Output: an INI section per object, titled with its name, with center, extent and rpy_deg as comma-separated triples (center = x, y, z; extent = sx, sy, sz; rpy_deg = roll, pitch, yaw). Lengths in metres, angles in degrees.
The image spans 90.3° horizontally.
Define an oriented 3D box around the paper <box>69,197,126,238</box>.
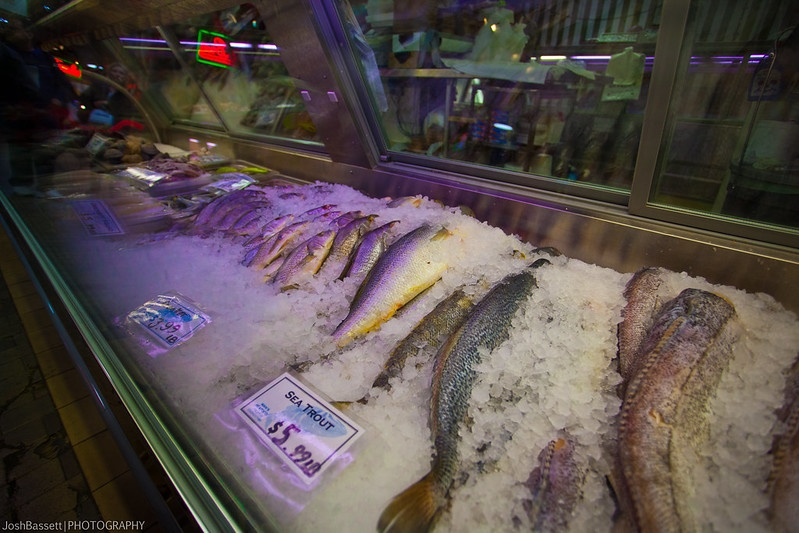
[paper]
center = -1.887, -0.298, 2.456
extent = 0.137, 0.043, 0.306
rpy_deg = -23, 49, -27
